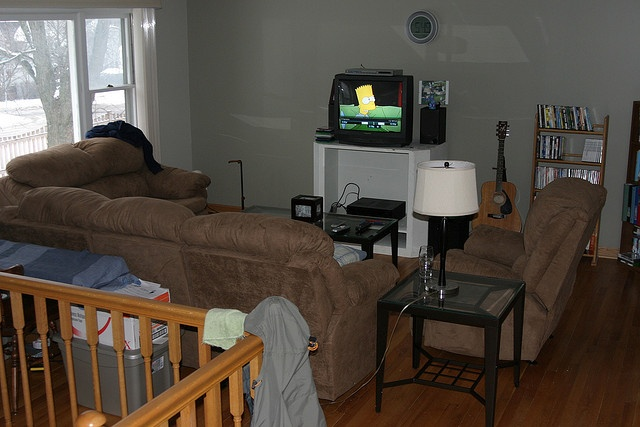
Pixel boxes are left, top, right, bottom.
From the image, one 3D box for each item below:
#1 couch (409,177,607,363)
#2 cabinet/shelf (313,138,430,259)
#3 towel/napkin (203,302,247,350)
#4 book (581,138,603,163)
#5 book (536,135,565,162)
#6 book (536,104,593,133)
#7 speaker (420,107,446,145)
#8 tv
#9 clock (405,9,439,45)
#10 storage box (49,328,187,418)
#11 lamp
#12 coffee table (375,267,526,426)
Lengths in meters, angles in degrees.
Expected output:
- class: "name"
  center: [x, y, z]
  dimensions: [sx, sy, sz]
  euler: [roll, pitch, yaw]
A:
- class: "couch"
  center: [1.709, 0.380, 4.505]
  dimensions: [1.294, 1.355, 1.585]
  euler: [10, 10, 20]
- class: "cabinet/shelf"
  center: [0.598, -0.179, 5.641]
  dimensions: [1.540, 1.216, 0.534]
  euler: [3, 7, 20]
- class: "towel/napkin"
  center: [-0.417, 0.492, 2.235]
  dimensions: [0.190, 0.175, 0.065]
  euler: [5, 0, 15]
- class: "book"
  center: [3.068, -0.706, 5.725]
  dimensions: [0.269, 0.238, 0.063]
  euler: [10, 3, 43]
- class: "book"
  center: [2.623, -0.716, 5.878]
  dimensions: [0.370, 0.337, 0.265]
  euler: [2, 6, 30]
- class: "book"
  center: [2.762, -1.078, 5.766]
  dimensions: [0.588, 0.270, 0.159]
  euler: [6, 15, 20]
- class: "speaker"
  center: [1.384, -1.062, 6.144]
  dimensions: [0.346, 0.446, 0.212]
  euler: [-1, 15, -6]
- class: "tv"
  center: [0.732, -1.281, 6.314]
  dimensions: [1.040, 0.864, 0.568]
  euler: [9, 18, 31]
- class: "clock"
  center: [1.230, -2.258, 6.171]
  dimensions: [0.398, 0.370, 0.127]
  euler: [3, 6, 21]
- class: "storage box"
  center: [-1.310, 1.025, 3.454]
  dimensions: [0.813, 0.458, 0.590]
  euler: [3, 6, 24]
- class: "lamp"
  center: [0.853, 0.087, 3.512]
  dimensions: [0.418, 0.878, 0.460]
  euler: [4, 15, 12]
- class: "coffee table"
  center: [0.936, 0.766, 3.727]
  dimensions: [1.068, 0.956, 1.046]
  euler: [5, 10, 24]
